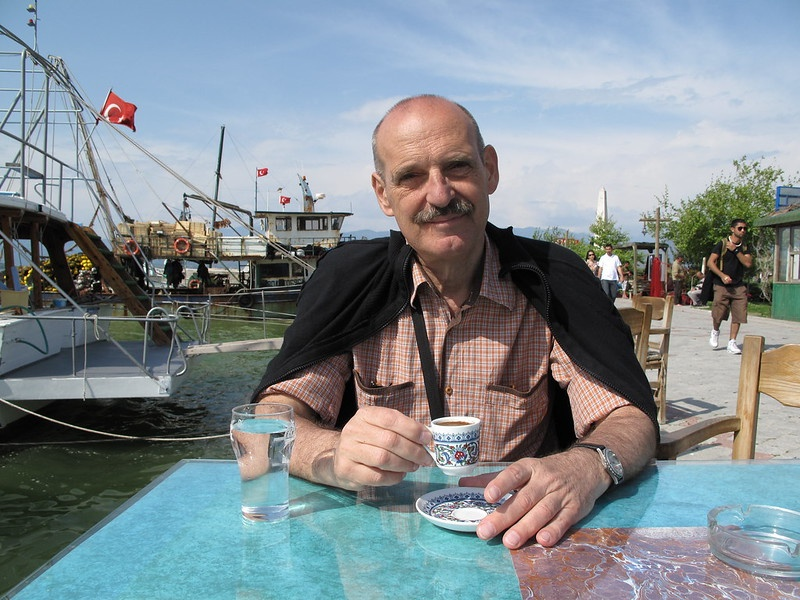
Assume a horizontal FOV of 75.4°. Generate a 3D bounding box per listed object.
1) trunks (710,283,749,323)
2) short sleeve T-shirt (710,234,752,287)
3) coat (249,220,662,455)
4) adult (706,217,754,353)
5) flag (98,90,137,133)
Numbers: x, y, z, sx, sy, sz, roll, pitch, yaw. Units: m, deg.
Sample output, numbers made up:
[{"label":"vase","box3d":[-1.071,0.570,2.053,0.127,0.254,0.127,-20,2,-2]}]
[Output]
[{"label":"trunks","box3d":[5.955,0.077,9.371,0.424,0.736,0.530,-10,12,-42]},{"label":"short sleeve T-shirt","box3d":[5.889,-0.674,9.280,0.689,0.813,0.605,0,9,14]},{"label":"coat","box3d":[0.309,0.027,2.696,1.988,1.183,1.076,0,-10,5]},{"label":"adult","box3d":[5.899,-0.273,9.418,0.944,2.333,0.920,-1,3,-22]},{"label":"flag","box3d":[-8.527,-5.839,15.807,1.060,1.160,0.132,12,-13,-5]}]
